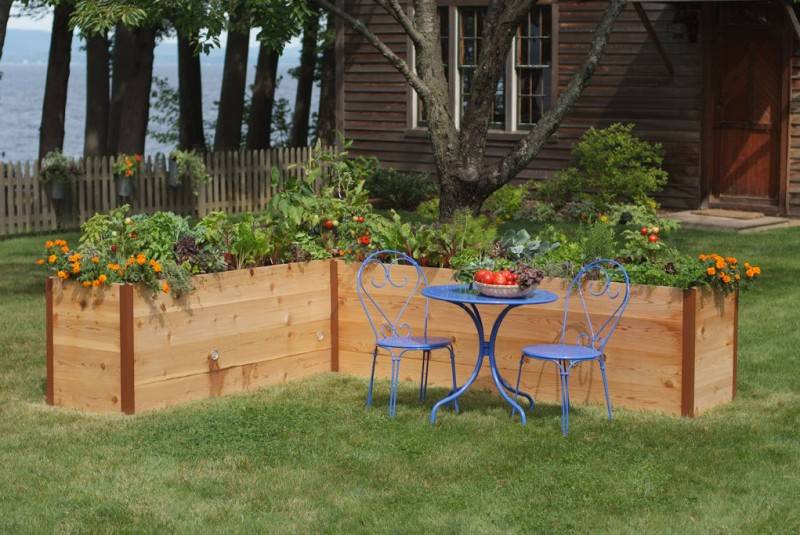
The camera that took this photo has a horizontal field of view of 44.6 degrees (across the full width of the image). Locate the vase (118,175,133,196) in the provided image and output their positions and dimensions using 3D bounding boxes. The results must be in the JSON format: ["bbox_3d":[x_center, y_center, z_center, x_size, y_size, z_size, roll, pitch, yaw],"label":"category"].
[{"bbox_3d":[-5.090,-1.526,17.838,0.285,0.382,0.303,7,6,34],"label":"vase"}]

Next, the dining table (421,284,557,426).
[{"bbox_3d":[0.793,0.847,9.330,1.161,1.282,1.167,6,6,37],"label":"dining table"}]

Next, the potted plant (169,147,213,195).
[{"bbox_3d":[-4.041,-1.900,18.479,0.503,0.845,0.753,-12,-1,23],"label":"potted plant"}]

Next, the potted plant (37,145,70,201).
[{"bbox_3d":[-6.173,-1.622,17.354,0.458,0.774,0.541,-1,-8,-13],"label":"potted plant"}]

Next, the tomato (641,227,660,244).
[{"bbox_3d":[2.455,-0.324,9.648,0.094,0.121,0.181,-24,20,-12],"label":"tomato"}]
